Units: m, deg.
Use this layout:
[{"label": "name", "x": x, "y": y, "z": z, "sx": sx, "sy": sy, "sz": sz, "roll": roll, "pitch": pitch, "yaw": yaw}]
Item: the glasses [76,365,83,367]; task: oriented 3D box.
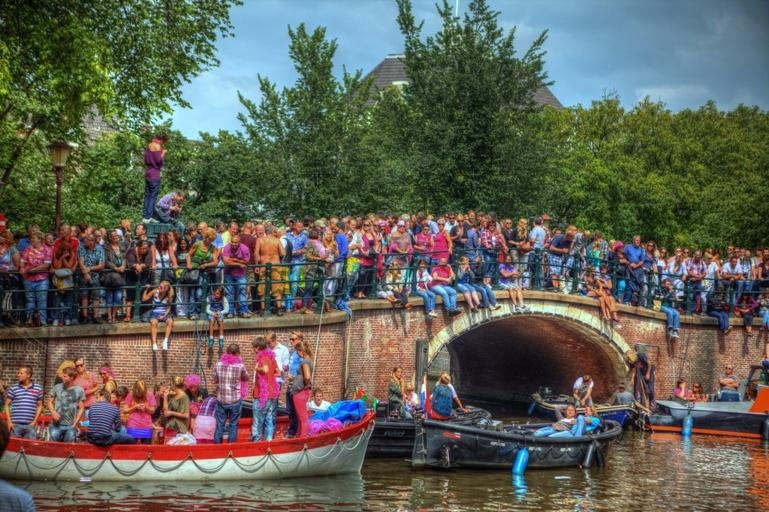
[{"label": "glasses", "x": -9.836, "y": 3.498, "z": 51.066, "sx": 0.190, "sy": 0.095, "sz": 0.076, "roll": 1, "pitch": -5, "yaw": -12}]
